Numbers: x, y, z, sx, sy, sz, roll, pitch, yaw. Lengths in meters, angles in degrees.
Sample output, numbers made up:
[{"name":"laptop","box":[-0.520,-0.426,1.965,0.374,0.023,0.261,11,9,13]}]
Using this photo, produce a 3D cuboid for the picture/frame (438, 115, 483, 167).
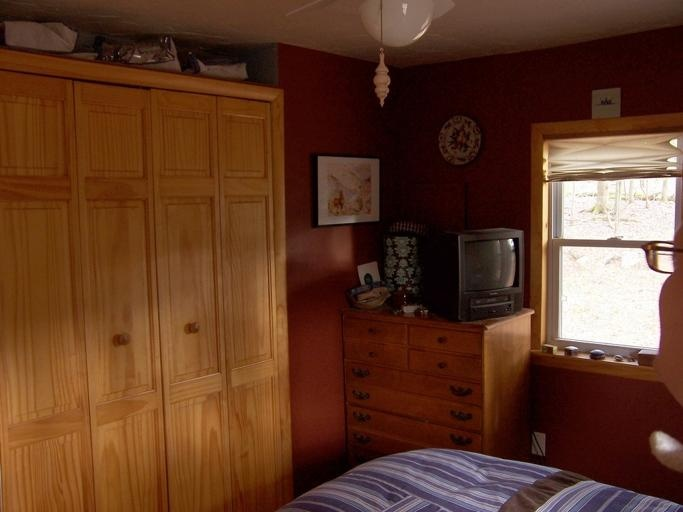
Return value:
[{"name":"picture/frame","box":[0.904,-0.880,4.279,0.338,0.364,0.030,3,9,36]}]

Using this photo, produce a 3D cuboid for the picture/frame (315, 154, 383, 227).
[{"name":"picture/frame","box":[0.030,-0.491,4.140,0.545,0.445,0.019,-5,6,-44]}]

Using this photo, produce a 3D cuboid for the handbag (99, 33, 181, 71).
[{"name":"handbag","box":[-1.137,-1.111,3.140,0.307,0.215,0.097,-9,-29,-29]}]
